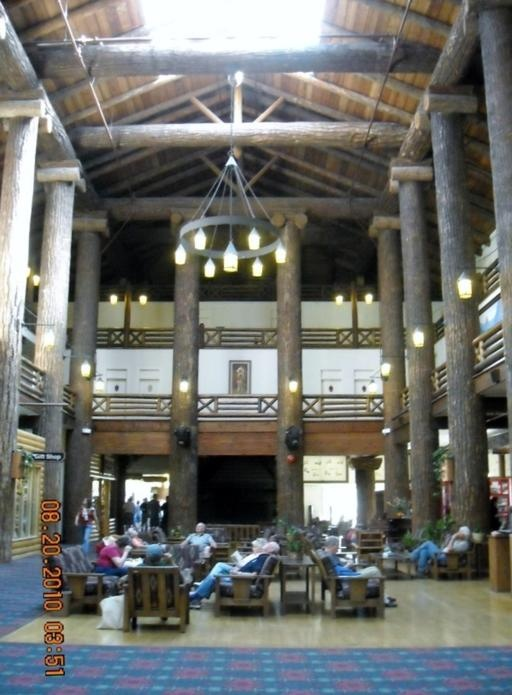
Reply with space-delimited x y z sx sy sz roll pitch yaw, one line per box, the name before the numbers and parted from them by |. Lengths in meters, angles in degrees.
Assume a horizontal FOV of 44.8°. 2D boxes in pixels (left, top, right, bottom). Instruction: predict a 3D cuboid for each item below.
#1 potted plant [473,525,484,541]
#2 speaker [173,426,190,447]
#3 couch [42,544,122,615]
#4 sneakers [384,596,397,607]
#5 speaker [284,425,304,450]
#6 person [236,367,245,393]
potted plant | 3.660 3.110 10.306 0.182 0.137 0.185 -4 -8 28
speaker | -2.049 2.541 17.438 0.419 0.576 0.494 0 -15 2
couch | -1.887 2.622 7.082 0.524 0.608 1.418 0 -14 -4
sneakers | 1.571 3.004 7.351 0.174 0.077 0.234 2 -5 -8
speaker | 1.010 2.526 17.362 0.660 0.981 0.475 1 -8 -1
person | -0.521 1.086 20.624 0.279 0.864 0.081 2 -15 -6
